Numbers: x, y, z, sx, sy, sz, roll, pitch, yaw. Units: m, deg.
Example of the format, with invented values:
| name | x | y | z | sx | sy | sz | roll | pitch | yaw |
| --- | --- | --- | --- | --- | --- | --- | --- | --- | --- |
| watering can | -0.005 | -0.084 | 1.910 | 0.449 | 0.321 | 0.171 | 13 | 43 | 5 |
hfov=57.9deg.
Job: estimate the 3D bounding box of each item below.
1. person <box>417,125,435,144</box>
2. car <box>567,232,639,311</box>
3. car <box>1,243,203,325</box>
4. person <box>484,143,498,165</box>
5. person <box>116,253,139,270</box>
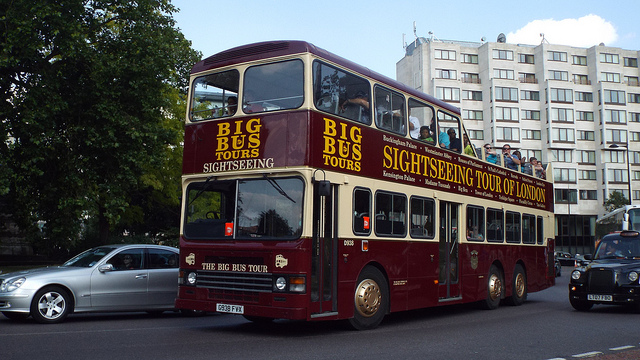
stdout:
| name | x | y | z | sx | sy | sz | roll | pitch | yaw |
| --- | --- | --- | --- | --- | --- | --- | --- | --- | --- |
| person | 3.927 | -1.716 | 21.694 | 0.744 | 0.568 | 0.410 | 1 | -15 | -24 |
| car | 11.854 | 3.806 | 24.175 | 2.525 | 3.242 | 1.946 | 0 | -3 | 25 |
| car | -7.981 | 3.818 | 21.918 | 6.883 | 2.054 | 2.853 | 8 | -13 | -33 |
| person | 7.390 | -1.118 | 24.617 | 0.701 | 0.862 | 0.413 | -16 | -1 | -36 |
| person | -7.226 | 3.099 | 21.764 | 1.109 | 0.684 | 0.486 | 4 | -20 | -15 |
